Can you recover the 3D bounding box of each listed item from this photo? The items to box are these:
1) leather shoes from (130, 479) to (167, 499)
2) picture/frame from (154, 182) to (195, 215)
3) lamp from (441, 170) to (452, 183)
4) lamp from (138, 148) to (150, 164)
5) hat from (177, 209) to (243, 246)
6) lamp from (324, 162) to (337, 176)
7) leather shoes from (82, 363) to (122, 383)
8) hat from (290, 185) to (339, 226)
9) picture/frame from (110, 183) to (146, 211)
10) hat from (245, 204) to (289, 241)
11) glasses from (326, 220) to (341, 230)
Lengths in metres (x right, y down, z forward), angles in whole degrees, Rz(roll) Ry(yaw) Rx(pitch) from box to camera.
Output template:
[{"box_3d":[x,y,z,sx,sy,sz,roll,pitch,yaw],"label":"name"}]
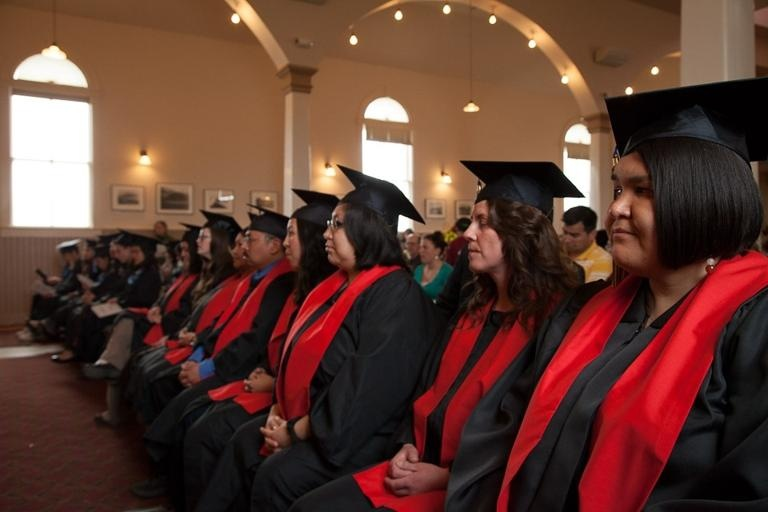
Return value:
[{"box_3d":[-1.542,1.551,3.754,0.239,0.105,0.103,2,36,-34],"label":"leather shoes"},{"box_3d":[-3.935,-1.073,10.559,0.606,0.553,0.058,1,-3,-28],"label":"picture/frame"},{"box_3d":[1.456,-1.829,13.249,0.254,0.297,0.262,0,-12,-18],"label":"lamp"},{"box_3d":[-4.334,-1.796,10.172,0.222,0.265,0.235,2,0,-34],"label":"lamp"},{"box_3d":[-1.525,-0.240,5.063,0.437,0.121,0.420,20,-12,-40],"label":"hat"},{"box_3d":[-1.120,-1.818,11.826,0.203,0.291,0.251,1,-12,-9],"label":"lamp"},{"box_3d":[-2.408,0.999,4.900,0.316,0.137,0.152,19,-18,-31],"label":"leather shoes"},{"box_3d":[-0.501,-0.322,3.827,0.263,0.118,0.291,2,-4,-33],"label":"hat"},{"box_3d":[-4.644,-1.066,10.207,0.493,0.445,0.068,0,-2,-27],"label":"picture/frame"},{"box_3d":[-0.859,-0.192,4.420,0.318,0.120,0.334,17,-5,7],"label":"hat"},{"box_3d":[-0.284,-0.173,3.212,0.073,0.050,0.045,5,-7,-22],"label":"glasses"}]
